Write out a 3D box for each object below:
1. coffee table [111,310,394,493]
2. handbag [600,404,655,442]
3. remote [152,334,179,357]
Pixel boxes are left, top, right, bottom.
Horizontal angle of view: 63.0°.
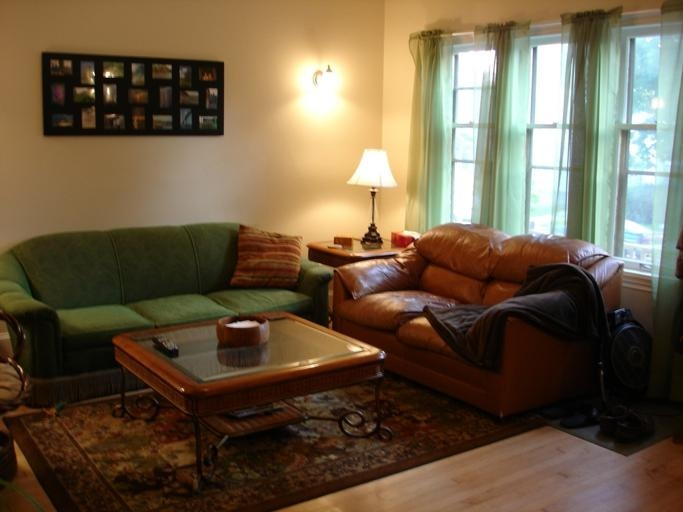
[{"bbox_3d":[-0.666,0.542,3.244,1.068,0.448,1.076,-6,9,-34],"label":"coffee table"},{"bbox_3d":[1.764,1.028,3.462,0.305,0.139,0.275,-12,18,-43],"label":"handbag"},{"bbox_3d":[-1.015,0.504,3.225,0.088,0.054,0.167,-6,16,-30],"label":"remote"}]
